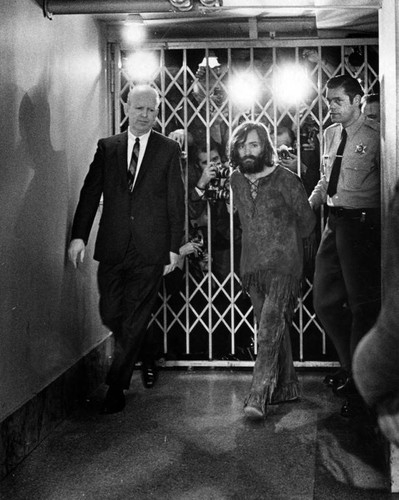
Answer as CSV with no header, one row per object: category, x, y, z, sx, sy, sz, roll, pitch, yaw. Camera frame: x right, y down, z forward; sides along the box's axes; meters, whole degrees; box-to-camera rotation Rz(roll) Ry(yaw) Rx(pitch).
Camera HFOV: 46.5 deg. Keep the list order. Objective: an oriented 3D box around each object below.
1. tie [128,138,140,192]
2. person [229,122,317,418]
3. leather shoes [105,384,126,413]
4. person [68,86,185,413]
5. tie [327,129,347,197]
tie,-0.423,-0.559,2.996,0.045,0.371,0.026,5,-14,-4
person,0.443,0.065,2.791,0.505,1.747,0.444,-1,-2,6
leather shoes,-0.488,0.884,2.766,0.088,0.147,0.140,0,-25,-2
person,-0.481,0.004,3.125,0.615,2.196,0.593,4,24,-6
tie,0.910,-0.546,3.083,0.085,0.536,0.048,10,-4,-34
